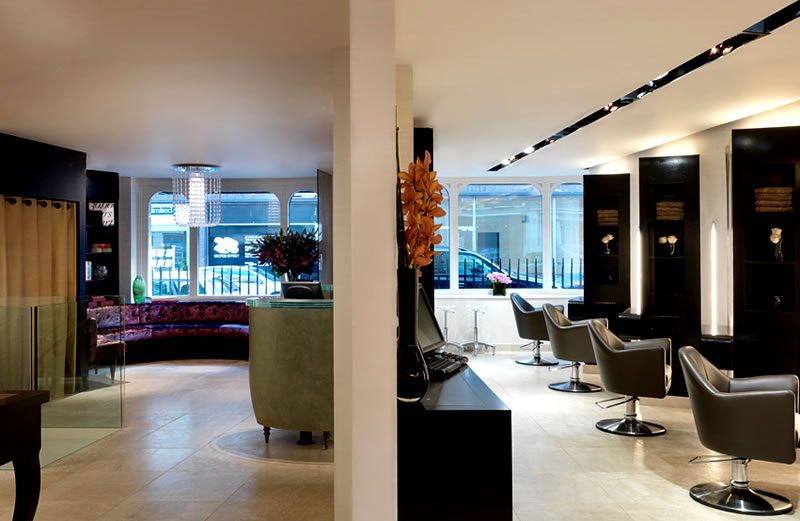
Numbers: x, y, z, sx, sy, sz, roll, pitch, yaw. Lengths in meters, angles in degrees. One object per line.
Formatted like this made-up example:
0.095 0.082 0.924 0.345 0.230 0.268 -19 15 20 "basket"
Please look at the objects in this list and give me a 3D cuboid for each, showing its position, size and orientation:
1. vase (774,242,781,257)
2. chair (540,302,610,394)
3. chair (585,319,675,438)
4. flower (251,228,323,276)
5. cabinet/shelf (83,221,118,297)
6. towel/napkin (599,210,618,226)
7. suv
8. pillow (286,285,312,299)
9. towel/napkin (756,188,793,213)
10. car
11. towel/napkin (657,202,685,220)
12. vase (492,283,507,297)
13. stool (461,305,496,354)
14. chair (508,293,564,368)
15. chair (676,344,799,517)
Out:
4.654 -0.135 7.338 0.069 0.240 0.074 -1 -1 23 "vase"
2.801 1.272 9.006 1.207 1.457 1.290 -1 -3 7 "chair"
2.667 1.397 7.542 1.270 1.531 1.290 0 -2 17 "chair"
-2.028 -0.097 10.847 1.192 1.061 0.915 -1 -1 -23 "flower"
-5.475 -0.031 10.973 0.497 1.323 0.417 0 -1 -25 "cabinet/shelf"
3.422 -0.710 9.893 0.426 0.291 0.225 2 6 7 "towel/napkin"
1.844 0.142 12.246 2.174 0.676 0.944 -1 1 1 "suv"
-1.273 0.393 7.421 0.349 0.153 0.163 0 -1 4 "pillow"
4.555 -0.738 7.296 0.401 0.310 0.100 0 -1 7 "towel/napkin"
-3.731 0.441 12.483 2.791 0.889 1.232 -3 0 -13 "car"
3.925 -0.717 8.710 0.356 0.279 0.094 0 -1 0 "towel/napkin"
1.913 0.571 11.509 0.248 0.231 0.239 -1 -1 1 "vase"
1.322 1.386 11.704 0.793 0.880 0.834 0 -5 -2 "stool"
2.309 1.206 10.532 1.170 1.406 1.249 -1 -2 6 "chair"
3.167 1.562 6.068 1.356 1.662 1.501 -3 -6 25 "chair"
